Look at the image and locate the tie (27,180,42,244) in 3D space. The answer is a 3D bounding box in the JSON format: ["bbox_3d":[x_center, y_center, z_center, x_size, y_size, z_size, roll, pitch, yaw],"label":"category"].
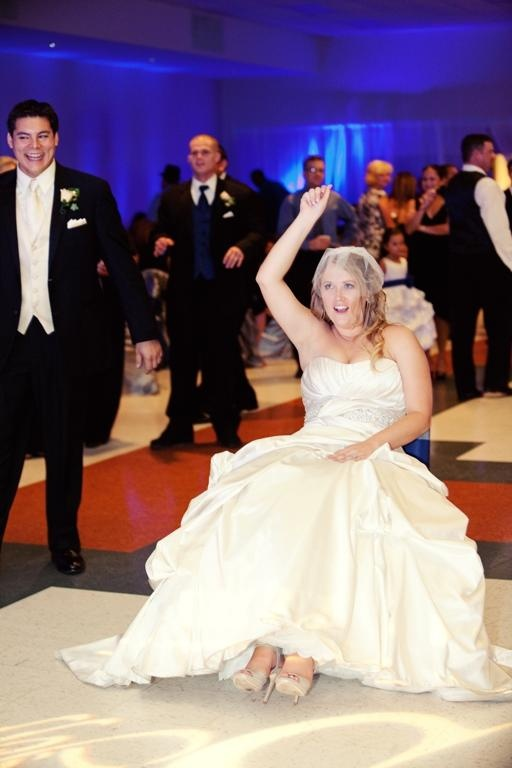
[{"bbox_3d":[-0.731,-0.573,2.390,0.055,0.197,0.020,-9,6,-19],"label":"tie"}]

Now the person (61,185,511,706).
[{"bbox_3d":[0.045,0.102,1.666,0.996,1.183,0.743,-9,5,-23],"label":"person"}]

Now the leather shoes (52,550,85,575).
[{"bbox_3d":[-0.658,0.631,2.539,0.057,0.056,0.140,2,-10,-33],"label":"leather shoes"}]

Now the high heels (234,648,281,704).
[{"bbox_3d":[0.021,0.595,1.482,0.059,0.069,0.168,-20,-29,5],"label":"high heels"}]

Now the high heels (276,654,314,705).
[{"bbox_3d":[0.076,0.589,1.432,0.064,0.082,0.108,-5,5,18],"label":"high heels"}]
